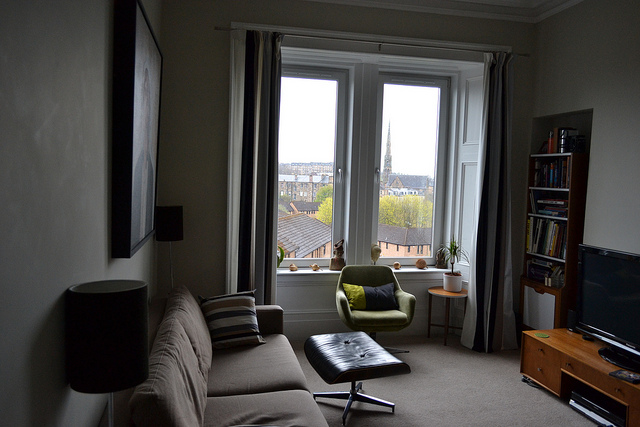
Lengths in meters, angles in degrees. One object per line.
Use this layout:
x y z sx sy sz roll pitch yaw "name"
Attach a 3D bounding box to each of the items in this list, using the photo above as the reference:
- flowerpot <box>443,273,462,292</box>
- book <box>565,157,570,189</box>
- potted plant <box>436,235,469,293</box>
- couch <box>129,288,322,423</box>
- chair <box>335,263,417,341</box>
1.473 0.775 5.272 0.160 0.128 0.167 1 -1 2 "flowerpot"
2.526 -0.413 4.804 0.050 0.222 0.217 1 46 32 "book"
1.489 0.565 5.270 0.289 0.590 0.301 5 7 34 "potted plant"
-0.631 1.077 3.258 0.751 0.688 1.511 0 8 -12 "couch"
0.561 1.012 4.923 0.746 0.854 0.682 1 4 -3 "chair"
